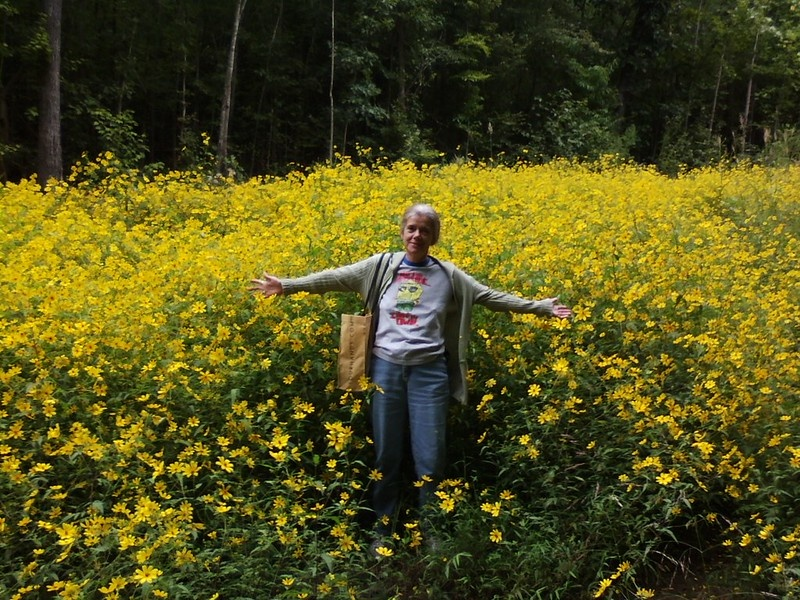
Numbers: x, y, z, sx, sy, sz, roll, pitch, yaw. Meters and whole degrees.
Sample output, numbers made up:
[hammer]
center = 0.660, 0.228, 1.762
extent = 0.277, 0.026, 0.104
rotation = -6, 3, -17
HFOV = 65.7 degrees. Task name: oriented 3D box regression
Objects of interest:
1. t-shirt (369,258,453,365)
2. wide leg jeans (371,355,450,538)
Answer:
[t-shirt]
center = 0.093, 0.080, 4.858
extent = 0.548, 0.804, 0.347
rotation = 5, 10, 11
[wide leg jeans]
center = 0.046, 1.117, 4.865
extent = 0.619, 1.349, 0.279
rotation = 3, 10, -2
